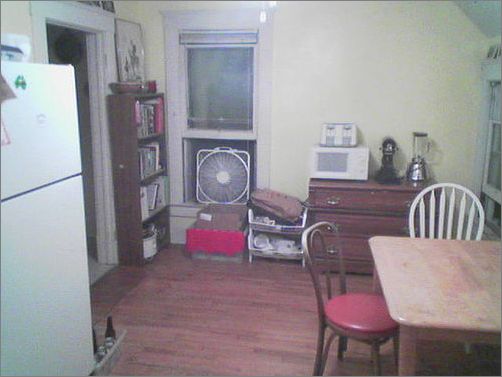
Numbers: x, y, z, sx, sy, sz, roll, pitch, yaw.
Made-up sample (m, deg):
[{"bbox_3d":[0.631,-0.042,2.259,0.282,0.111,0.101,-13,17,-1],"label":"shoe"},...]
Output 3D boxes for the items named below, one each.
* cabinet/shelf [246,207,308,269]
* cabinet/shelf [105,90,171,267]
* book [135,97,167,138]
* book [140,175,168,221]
[{"bbox_3d":[0.272,0.508,4.421,0.665,0.667,0.535,3,24,4],"label":"cabinet/shelf"},{"bbox_3d":[-1.178,-0.180,4.363,0.348,1.829,0.777,2,15,9],"label":"cabinet/shelf"},{"bbox_3d":[-1.076,-0.773,4.358,0.249,0.430,0.449,1,9,11],"label":"book"},{"bbox_3d":[-1.076,0.078,4.502,0.174,0.200,0.462,2,26,9],"label":"book"}]
